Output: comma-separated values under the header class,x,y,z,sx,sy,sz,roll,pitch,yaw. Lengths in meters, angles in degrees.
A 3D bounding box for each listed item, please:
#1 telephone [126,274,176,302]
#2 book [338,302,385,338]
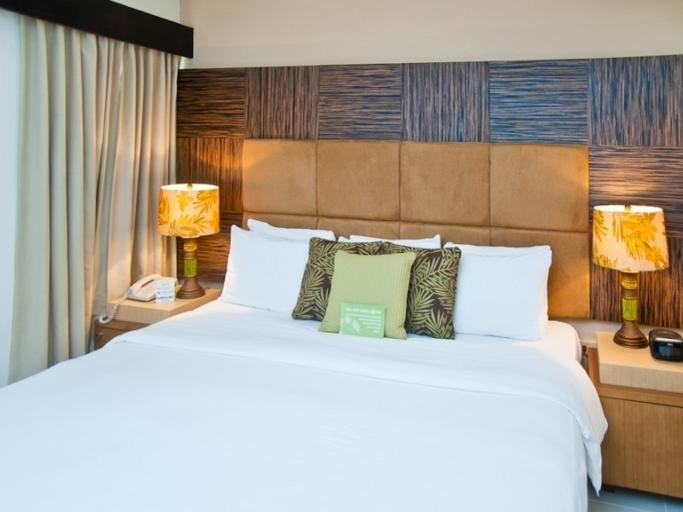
class,x,y,z,sx,sy,sz,roll,pitch,yaw
telephone,-1.325,0.222,3.522,0.209,0.096,0.216,2,13,25
book,0.118,0.351,2.791,0.174,0.142,0.014,2,1,13
